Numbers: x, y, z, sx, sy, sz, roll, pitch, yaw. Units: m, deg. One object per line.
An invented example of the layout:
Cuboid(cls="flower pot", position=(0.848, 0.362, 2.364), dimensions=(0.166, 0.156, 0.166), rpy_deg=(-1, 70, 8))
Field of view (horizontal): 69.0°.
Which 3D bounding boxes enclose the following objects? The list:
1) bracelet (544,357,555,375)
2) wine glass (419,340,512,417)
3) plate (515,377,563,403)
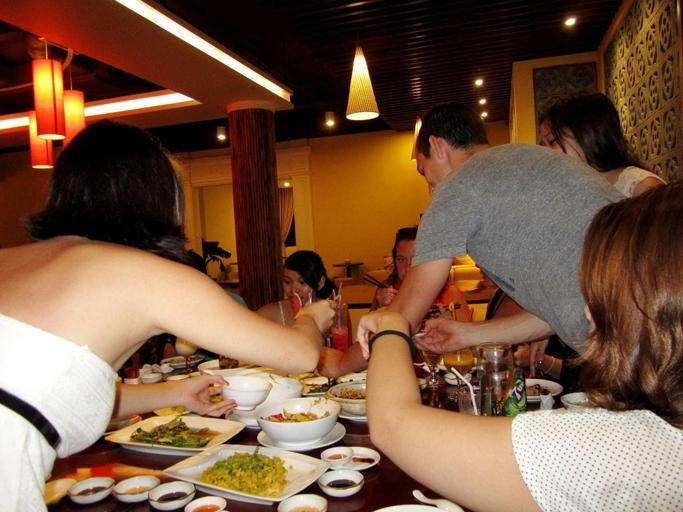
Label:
Cuboid(cls="bracelet", position=(0.921, 0.495, 2.221), dimensions=(0.049, 0.060, 0.057), rpy_deg=(2, 1, 17))
Cuboid(cls="wine glass", position=(0.432, 0.394, 1.636), dimensions=(0.230, 0.301, 0.199), rpy_deg=(-1, -5, 17))
Cuboid(cls="plate", position=(0.734, 0.482, 1.829), dimensions=(0.140, 0.022, 0.142), rpy_deg=(4, 10, 41))
